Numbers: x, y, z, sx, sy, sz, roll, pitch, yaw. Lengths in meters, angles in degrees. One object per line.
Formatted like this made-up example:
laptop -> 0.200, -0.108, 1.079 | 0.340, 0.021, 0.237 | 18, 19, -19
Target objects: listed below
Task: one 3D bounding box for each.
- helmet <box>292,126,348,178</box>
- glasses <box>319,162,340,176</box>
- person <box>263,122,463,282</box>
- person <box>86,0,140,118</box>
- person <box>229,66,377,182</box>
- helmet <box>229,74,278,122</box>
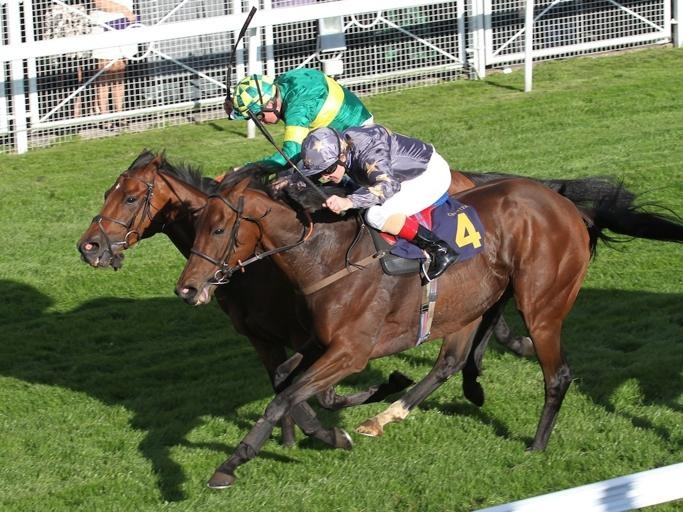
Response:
helmet -> -0.088, -0.610, 4.764 | 0.273, 0.168, 0.299 | 19, 63, 43
glasses -> -0.060, -0.506, 4.690 | 0.097, 0.039, 0.070 | -32, -3, 29
person -> 0.197, -0.388, 5.048 | 0.989, 0.731, 1.384 | 21, 23, 40
person -> -2.985, -2.633, 10.621 | 0.610, 1.482, 0.613 | -3, 19, 9
person -> -0.251, -0.943, 5.880 | 1.295, 0.709, 0.578 | -5, -35, -39
helmet -> -0.598, -1.086, 5.487 | 0.353, 0.287, 0.395 | -6, 15, -5
